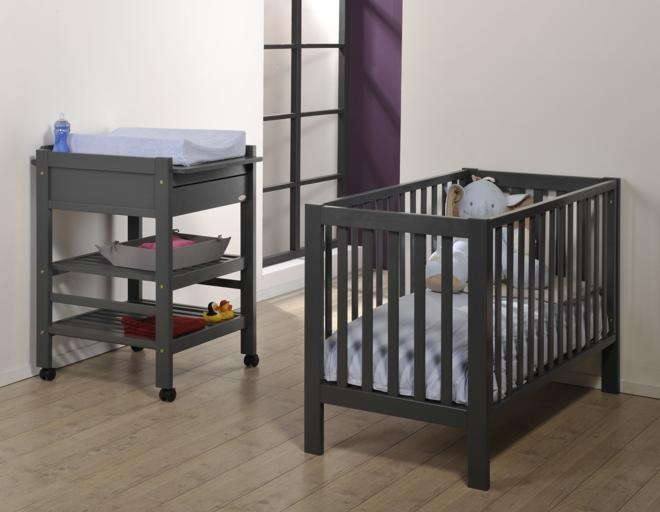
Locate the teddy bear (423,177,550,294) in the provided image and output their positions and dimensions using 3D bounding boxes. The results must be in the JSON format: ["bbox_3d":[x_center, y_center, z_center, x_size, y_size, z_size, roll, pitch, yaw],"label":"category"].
[{"bbox_3d":[0.680,-0.092,2.909,0.474,0.482,0.415,2,10,25],"label":"teddy bear"}]

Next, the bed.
[{"bbox_3d":[0.580,0.115,2.837,0.866,1.024,1.458,6,12,33],"label":"bed"}]

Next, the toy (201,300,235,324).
[{"bbox_3d":[-0.531,0.261,3.277,0.100,0.062,0.126,8,11,42],"label":"toy"}]

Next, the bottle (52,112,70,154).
[{"bbox_3d":[-1.181,-0.535,3.003,0.071,0.136,0.083,-4,12,-21],"label":"bottle"}]

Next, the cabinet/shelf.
[{"bbox_3d":[-0.891,-0.079,3.450,1.013,1.391,1.095,4,7,32],"label":"cabinet/shelf"}]
